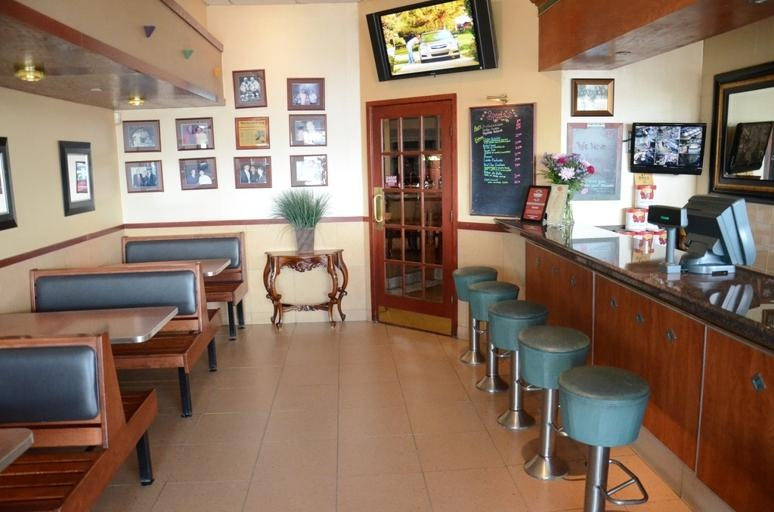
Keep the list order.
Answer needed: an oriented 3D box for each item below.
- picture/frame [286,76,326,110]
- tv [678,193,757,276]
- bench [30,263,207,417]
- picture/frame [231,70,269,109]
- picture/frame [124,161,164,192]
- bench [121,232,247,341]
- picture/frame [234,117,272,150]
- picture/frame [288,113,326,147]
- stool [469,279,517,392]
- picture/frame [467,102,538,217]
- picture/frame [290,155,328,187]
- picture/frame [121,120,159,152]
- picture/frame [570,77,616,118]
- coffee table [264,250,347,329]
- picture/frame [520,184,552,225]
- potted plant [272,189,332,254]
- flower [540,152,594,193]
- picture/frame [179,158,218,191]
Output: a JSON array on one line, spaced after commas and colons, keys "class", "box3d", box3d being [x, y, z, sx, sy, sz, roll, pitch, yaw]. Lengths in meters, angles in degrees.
[{"class": "picture/frame", "box3d": [-1.023, -2.044, 7.096, 0.415, 0.317, 0.027, 0, 7, -1]}, {"class": "tv", "box3d": [2.224, -0.165, 3.931, 0.392, 0.508, 0.402, -5, 13, -4]}, {"class": "bench", "box3d": [-2.392, 0.656, 4.986, 1.562, 1.002, 1.220, 1, 22, 2]}, {"class": "picture/frame", "box3d": [-1.718, -2.088, 7.085, 0.490, 0.501, 0.022, -1, 9, -3]}, {"class": "picture/frame", "box3d": [-3.085, -1.012, 7.160, 0.419, 0.364, 0.038, 0, 6, -5]}, {"class": "bench", "box3d": [-2.582, 0.322, 6.598, 1.663, 1.239, 0.993, -1, -5, 14]}, {"class": "picture/frame", "box3d": [-1.696, -1.552, 7.152, 0.423, 0.362, 0.028, 1, 16, -1]}, {"class": "picture/frame", "box3d": [-1.027, -1.604, 7.163, 0.438, 0.333, 0.041, 1, 6, -1]}, {"class": "stool", "box3d": [1.034, 0.851, 5.480, 0.445, 0.745, 0.427, 3, 8, -32]}, {"class": "picture/frame", "box3d": [1.218, -1.027, 6.181, 0.765, 1.185, 0.100, 6, 15, 35]}, {"class": "picture/frame", "box3d": [-1.018, -1.095, 7.231, 0.428, 0.328, 0.029, 0, 5, -4]}, {"class": "picture/frame", "box3d": [-3.104, -1.503, 7.097, 0.429, 0.370, 0.030, 1, 1, -8]}, {"class": "picture/frame", "box3d": [2.067, -1.593, 5.710, 0.430, 0.343, 0.044, 1, 7, 5]}, {"class": "coffee table", "box3d": [-1.048, 0.380, 7.270, 1.048, 0.825, 0.456, 0, 6, -1]}, {"class": "picture/frame", "box3d": [1.524, -0.522, 5.833, 0.054, 0.518, 0.407, 17, -2, -37]}, {"class": "potted plant", "box3d": [-1.053, -0.410, 7.437, 0.935, 0.909, 0.749, -1, 2, -8]}, {"class": "flower", "box3d": [1.805, -0.838, 5.548, 0.437, 0.361, 0.412, 9, 13, -2]}, {"class": "picture/frame", "box3d": [-2.405, -1.056, 7.222, 0.430, 0.338, 0.043, 0, 7, -1]}]
